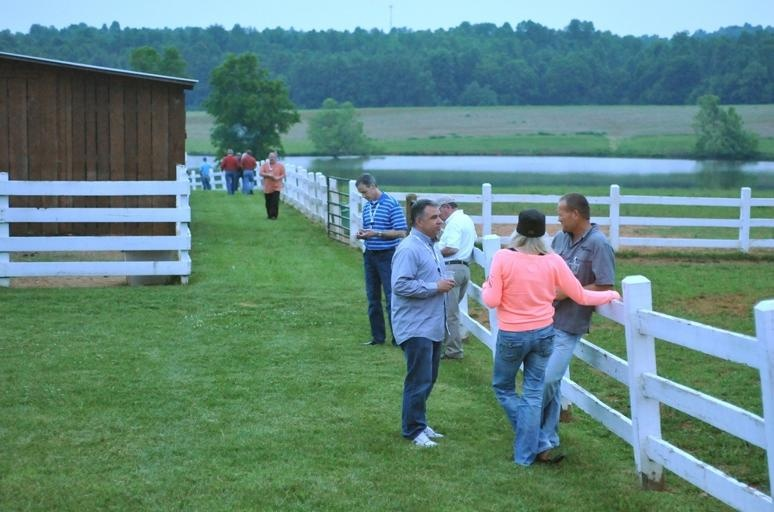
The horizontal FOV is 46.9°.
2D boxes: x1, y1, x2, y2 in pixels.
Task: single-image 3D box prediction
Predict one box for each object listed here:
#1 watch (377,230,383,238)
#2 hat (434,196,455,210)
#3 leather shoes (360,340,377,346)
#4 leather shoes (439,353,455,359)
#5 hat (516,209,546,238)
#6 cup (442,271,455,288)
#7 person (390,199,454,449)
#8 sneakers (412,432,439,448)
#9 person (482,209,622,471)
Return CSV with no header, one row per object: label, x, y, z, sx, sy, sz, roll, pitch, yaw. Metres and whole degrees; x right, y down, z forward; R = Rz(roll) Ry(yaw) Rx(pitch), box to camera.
watch,-0.087,-0.332,13.287,0.055,0.095,0.093,1,0,-7
hat,0.864,-0.781,13.001,0.276,0.149,0.187,-5,6,0
leather shoes,-0.257,1.317,13.482,0.232,0.108,0.079,-5,0,22
leather shoes,0.922,1.493,13.327,0.226,0.100,0.077,-2,2,1
hat,1.699,-0.370,10.342,0.256,0.191,0.361,4,31,5
cup,0.790,0.289,10.920,0.179,0.181,0.161,0,-3,-6
person,0.450,0.811,10.916,0.721,2.977,0.582,-2,8,-9
sneakers,0.468,2.255,10.885,0.364,0.176,0.130,-4,0,20
person,1.733,0.970,10.496,1.161,3.012,0.337,1,8,10
